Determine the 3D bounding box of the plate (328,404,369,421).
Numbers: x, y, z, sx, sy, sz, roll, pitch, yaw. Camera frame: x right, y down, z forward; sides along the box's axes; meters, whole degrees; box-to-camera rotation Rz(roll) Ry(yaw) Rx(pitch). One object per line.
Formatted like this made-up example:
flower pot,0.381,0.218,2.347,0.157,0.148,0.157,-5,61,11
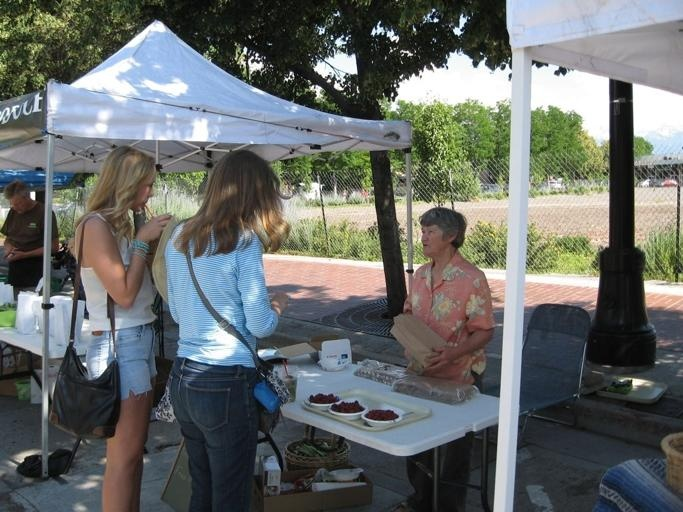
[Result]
plate,0.027,0.882,3.425,0.205,0.069,0.181,0,4,14

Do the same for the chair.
chair,1.651,0.921,5.331,0.828,0.982,1.448,6,6,42

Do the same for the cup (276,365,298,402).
cup,-0.347,0.783,3.696,0.145,0.224,0.138,-3,-12,-1

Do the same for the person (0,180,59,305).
person,-3.976,-0.213,7.649,0.612,1.444,0.618,-3,4,-30

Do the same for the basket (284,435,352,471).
basket,-0.172,1.438,4.420,0.431,0.195,0.510,-3,-9,16

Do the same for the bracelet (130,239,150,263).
bracelet,-1.155,-0.038,3.440,0.103,0.103,0.098,0,-4,13

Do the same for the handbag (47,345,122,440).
handbag,-1.463,0.746,3.476,0.420,0.573,0.212,10,7,18

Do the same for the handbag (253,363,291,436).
handbag,-0.384,0.728,3.093,0.165,0.315,0.235,4,-1,13

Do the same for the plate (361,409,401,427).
plate,0.229,0.898,3.357,0.207,0.061,0.183,-3,4,-33

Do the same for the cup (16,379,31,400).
cup,-3.264,1.375,6.190,0.181,0.198,0.172,1,0,0
